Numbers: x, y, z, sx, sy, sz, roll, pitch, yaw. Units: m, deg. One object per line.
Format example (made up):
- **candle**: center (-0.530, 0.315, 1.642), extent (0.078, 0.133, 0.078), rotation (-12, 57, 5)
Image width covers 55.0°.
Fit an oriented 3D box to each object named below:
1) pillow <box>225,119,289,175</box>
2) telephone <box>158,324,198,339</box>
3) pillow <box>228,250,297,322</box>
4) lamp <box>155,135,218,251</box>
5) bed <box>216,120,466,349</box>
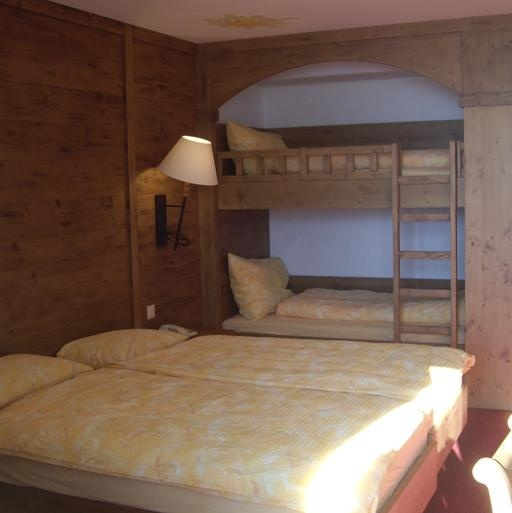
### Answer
- **pillow**: center (-0.070, -0.996, 4.457), extent (0.581, 0.477, 0.170), rotation (6, -19, -37)
- **telephone**: center (-0.582, 0.548, 3.682), extent (0.180, 0.047, 0.154), rotation (14, 0, 12)
- **pillow**: center (0.070, 0.249, 4.823), extent (0.399, 0.572, 0.990), rotation (-2, 3, 23)
- **lamp**: center (-0.561, -0.479, 3.727), extent (0.429, 0.869, 0.611), rotation (-5, 7, -31)
- **bed**: center (0.976, -0.128, 4.360), extent (2.358, 1.612, 1.247), rotation (1, 7, 25)
